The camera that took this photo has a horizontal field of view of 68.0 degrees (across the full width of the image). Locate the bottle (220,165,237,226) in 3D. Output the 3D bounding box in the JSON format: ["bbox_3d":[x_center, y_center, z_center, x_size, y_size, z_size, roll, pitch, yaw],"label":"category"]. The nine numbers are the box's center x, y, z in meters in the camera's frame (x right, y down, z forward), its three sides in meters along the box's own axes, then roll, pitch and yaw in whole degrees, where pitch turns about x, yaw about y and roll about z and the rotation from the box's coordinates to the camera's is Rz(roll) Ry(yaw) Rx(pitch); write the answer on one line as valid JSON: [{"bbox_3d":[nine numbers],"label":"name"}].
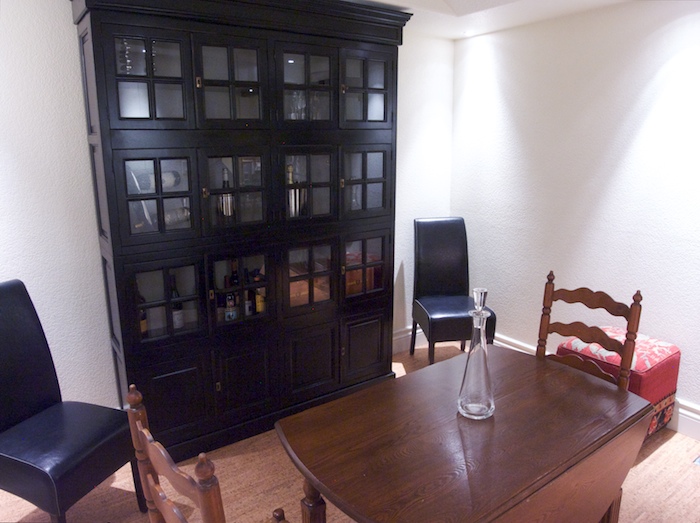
[{"bbox_3d":[-0.728,-0.420,3.101,0.089,0.478,0.021,-2,29,-15],"label":"bottle"}]

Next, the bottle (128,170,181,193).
[{"bbox_3d":[-1.108,-0.455,2.946,0.278,0.108,0.095,-9,13,-24],"label":"bottle"}]
